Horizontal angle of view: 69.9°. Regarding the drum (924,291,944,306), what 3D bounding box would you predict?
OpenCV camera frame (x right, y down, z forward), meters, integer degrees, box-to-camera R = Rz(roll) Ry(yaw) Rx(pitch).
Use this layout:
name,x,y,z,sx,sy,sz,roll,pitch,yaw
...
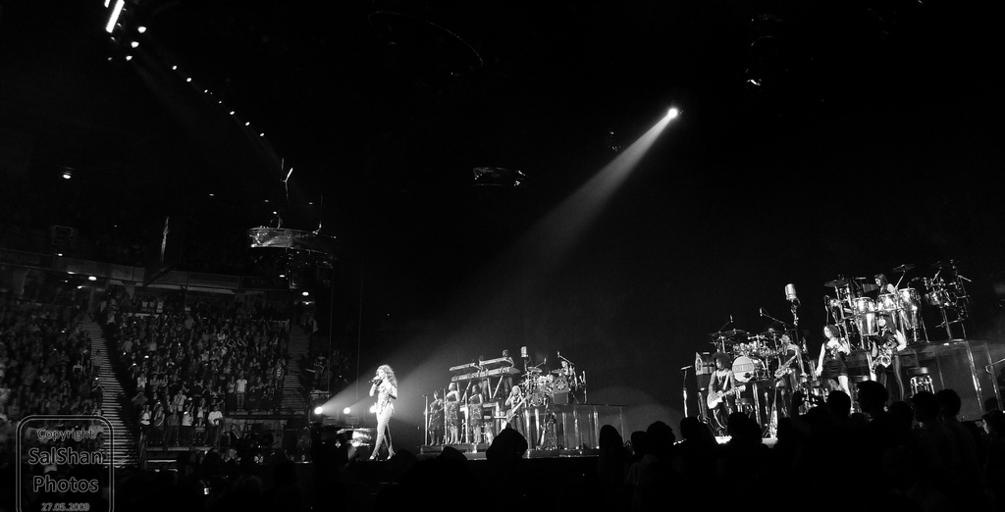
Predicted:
name,x,y,z,sx,sy,sz,roll,pitch,yaw
drum,15.679,1.573,26.153,0.604,0.355,0.545,3,-17,-3

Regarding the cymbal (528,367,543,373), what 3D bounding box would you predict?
name,x,y,z,sx,sy,sz,roll,pitch,yaw
cymbal,1.286,4.501,28.354,0.380,0.245,0.513,-8,-18,22

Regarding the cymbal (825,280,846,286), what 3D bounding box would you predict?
name,x,y,z,sx,sy,sz,roll,pitch,yaw
cymbal,12.461,1.062,26.969,0.444,0.220,0.070,7,17,24

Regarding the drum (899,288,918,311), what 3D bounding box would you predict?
name,x,y,z,sx,sy,sz,roll,pitch,yaw
drum,14.568,1.561,25.784,0.718,0.735,0.254,8,-20,-24

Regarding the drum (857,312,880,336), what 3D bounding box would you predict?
name,x,y,z,sx,sy,sz,roll,pitch,yaw
drum,13.263,2.475,26.177,0.844,0.724,0.783,3,-24,14
